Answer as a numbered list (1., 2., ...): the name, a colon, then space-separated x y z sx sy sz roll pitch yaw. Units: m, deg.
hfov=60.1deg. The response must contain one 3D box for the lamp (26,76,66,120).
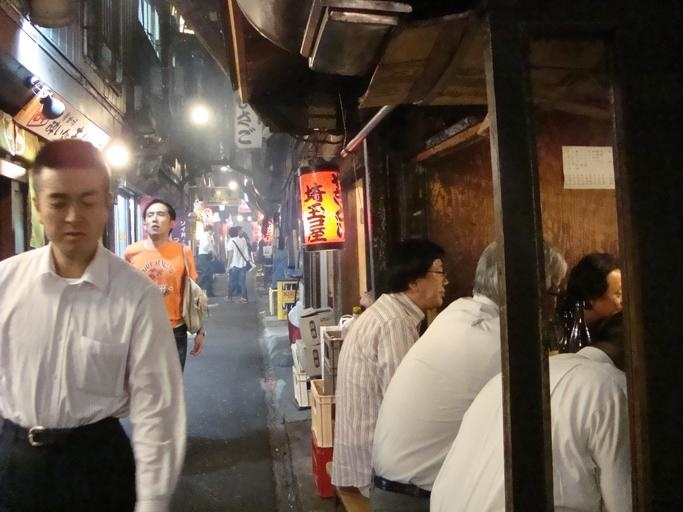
1. lamp: -4.180 -2.247 8.322 0.340 0.526 0.789 -3 7 -14

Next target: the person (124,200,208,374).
1. person: -2.076 0.812 6.885 0.899 2.825 0.831 -1 15 -22

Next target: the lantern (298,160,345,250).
1. lantern: -0.258 -0.660 7.911 0.595 1.135 0.312 -2 7 -5

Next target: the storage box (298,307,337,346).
1. storage box: -0.277 0.901 7.725 0.414 0.429 0.336 -8 7 7

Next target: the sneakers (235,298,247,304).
1. sneakers: -3.270 1.467 19.040 0.425 0.184 0.215 5 -3 -6

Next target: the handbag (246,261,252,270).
1. handbag: -2.931 0.287 18.707 0.199 0.247 0.593 -2 7 -7

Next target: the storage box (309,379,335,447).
1. storage box: -0.227 1.643 6.137 0.413 0.528 0.722 1 -7 -9
